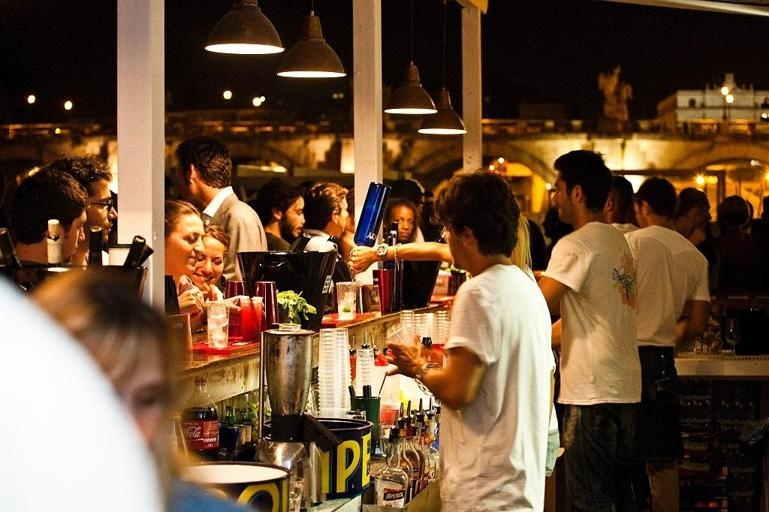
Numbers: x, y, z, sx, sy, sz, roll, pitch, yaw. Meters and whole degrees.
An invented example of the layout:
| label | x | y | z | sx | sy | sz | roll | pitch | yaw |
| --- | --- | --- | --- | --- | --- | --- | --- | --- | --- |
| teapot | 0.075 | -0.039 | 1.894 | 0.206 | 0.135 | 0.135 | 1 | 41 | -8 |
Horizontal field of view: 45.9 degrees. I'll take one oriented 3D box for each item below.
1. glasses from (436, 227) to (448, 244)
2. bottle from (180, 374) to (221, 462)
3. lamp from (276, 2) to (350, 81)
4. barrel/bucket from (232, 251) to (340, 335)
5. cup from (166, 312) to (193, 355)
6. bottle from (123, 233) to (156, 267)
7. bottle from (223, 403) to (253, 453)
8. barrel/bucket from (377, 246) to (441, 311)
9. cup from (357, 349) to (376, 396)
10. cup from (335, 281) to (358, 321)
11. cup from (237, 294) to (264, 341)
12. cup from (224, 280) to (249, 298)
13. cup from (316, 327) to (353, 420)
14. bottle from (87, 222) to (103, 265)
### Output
| label | x | y | z | sx | sy | sz | roll | pitch | yaw |
| --- | --- | --- | --- | --- | --- | --- | --- | --- | --- |
| glasses | 0.330 | -0.116 | 5.279 | 0.025 | 0.181 | 0.028 | 11 | 11 | -8 |
| bottle | -0.772 | 0.711 | 3.782 | 0.149 | 0.395 | 0.159 | -3 | -8 | 0 |
| lamp | -0.525 | -1.286 | 5.812 | 0.501 | 0.592 | 0.557 | 1 | 4 | 14 |
| barrel/bucket | -0.463 | 0.148 | 4.529 | 0.475 | 0.405 | 0.510 | 4 | 9 | -1 |
| cup | -0.883 | 0.326 | 3.831 | 0.152 | 0.155 | 0.147 | 2 | -9 | 0 |
| bottle | -0.961 | -0.012 | 3.524 | 0.093 | 0.132 | 0.197 | -1 | -5 | -9 |
| bottle | -0.641 | 0.751 | 3.958 | 0.098 | 0.183 | 0.174 | 0 | -5 | 3 |
| barrel/bucket | 0.160 | 0.116 | 5.439 | 0.389 | 0.392 | 0.332 | -1 | 8 | -11 |
| cup | -0.100 | 0.577 | 4.569 | 0.102 | 0.237 | 0.244 | -1 | -5 | -1 |
| cup | -0.217 | 0.243 | 5.100 | 0.162 | 0.267 | 0.165 | 0 | 1 | 0 |
| cup | -0.616 | 0.297 | 4.255 | 0.128 | 0.203 | 0.138 | 7 | -6 | 1 |
| cup | -0.726 | 0.158 | 4.467 | 0.084 | 0.084 | 0.089 | 1 | -1 | 0 |
| cup | -0.233 | 0.528 | 4.150 | 0.147 | 0.390 | 0.279 | -1 | -4 | -5 |
| bottle | -1.146 | -0.045 | 3.608 | 0.056 | 0.174 | 0.283 | 0 | -5 | -18 |
